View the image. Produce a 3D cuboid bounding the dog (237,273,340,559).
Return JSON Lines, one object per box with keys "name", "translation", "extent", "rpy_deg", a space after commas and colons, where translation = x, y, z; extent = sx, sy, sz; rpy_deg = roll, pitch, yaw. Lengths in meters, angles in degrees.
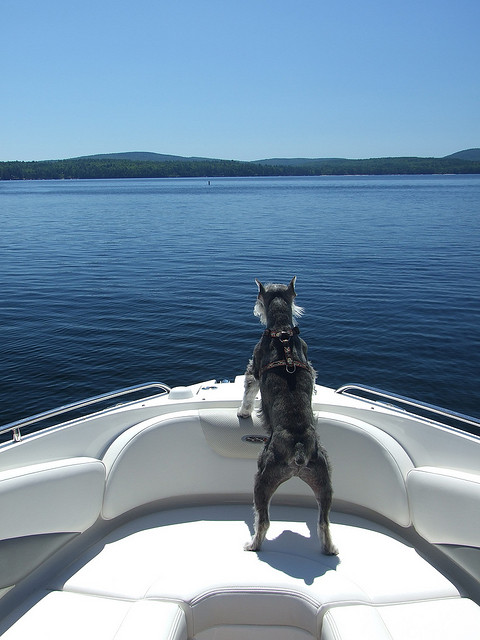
{"name": "dog", "translation": [0.370, 0.693, 4.401], "extent": [0.754, 1.268, 2.280], "rpy_deg": [0, 46, -2]}
